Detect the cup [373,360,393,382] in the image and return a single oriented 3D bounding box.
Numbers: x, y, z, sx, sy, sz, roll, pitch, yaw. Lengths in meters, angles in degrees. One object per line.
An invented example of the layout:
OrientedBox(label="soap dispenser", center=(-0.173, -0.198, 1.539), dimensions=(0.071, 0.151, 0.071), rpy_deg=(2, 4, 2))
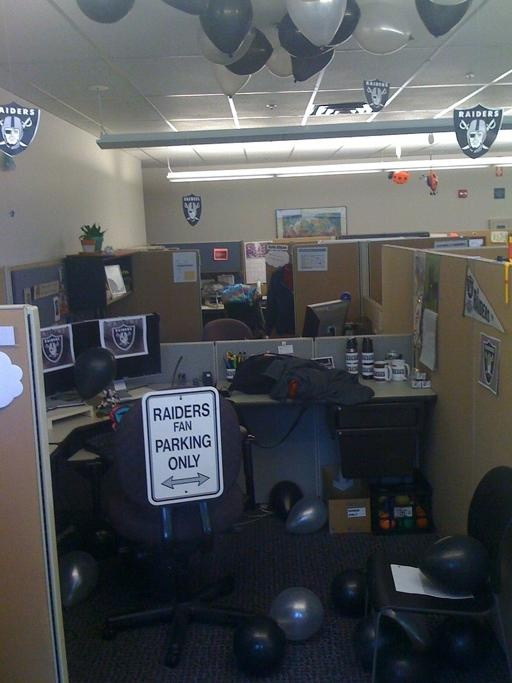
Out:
OrientedBox(label="cup", center=(0.669, 0.162, 2.787), dimensions=(0.110, 0.123, 0.071), rpy_deg=(5, 6, 41))

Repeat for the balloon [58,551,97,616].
OrientedBox(label="balloon", center=(-0.739, 0.986, 2.183), dimensions=(0.166, 0.200, 0.126), rpy_deg=(-5, 7, -32))

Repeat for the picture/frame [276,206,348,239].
OrientedBox(label="picture/frame", center=(0.891, -2.023, 8.792), dimensions=(1.016, 0.536, 0.022), rpy_deg=(-1, 5, -6))

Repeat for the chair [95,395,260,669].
OrientedBox(label="chair", center=(-0.345, 0.612, 2.045), dimensions=(0.516, 0.964, 0.632), rpy_deg=(-3, 6, -19))

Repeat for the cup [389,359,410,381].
OrientedBox(label="cup", center=(0.761, 0.157, 2.847), dimensions=(0.111, 0.134, 0.075), rpy_deg=(1, 2, -6))

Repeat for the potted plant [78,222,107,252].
OrientedBox(label="potted plant", center=(-1.518, -0.943, 4.799), dimensions=(0.180, 0.296, 0.820), rpy_deg=(-3, 7, -19))

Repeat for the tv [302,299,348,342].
OrientedBox(label="tv", center=(0.430, -0.135, 3.338), dimensions=(0.253, 0.231, 0.537), rpy_deg=(1, 7, 15))

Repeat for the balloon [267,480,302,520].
OrientedBox(label="balloon", center=(0.151, 0.849, 2.831), dimensions=(0.164, 0.184, 0.072), rpy_deg=(-23, -10, 1))

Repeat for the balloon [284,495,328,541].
OrientedBox(label="balloon", center=(0.249, 0.886, 2.706), dimensions=(0.192, 0.160, 0.149), rpy_deg=(-17, 32, -26))

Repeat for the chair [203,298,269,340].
OrientedBox(label="chair", center=(-0.213, -0.295, 5.780), dimensions=(0.689, 0.555, 0.405), rpy_deg=(-2, 15, 3))
